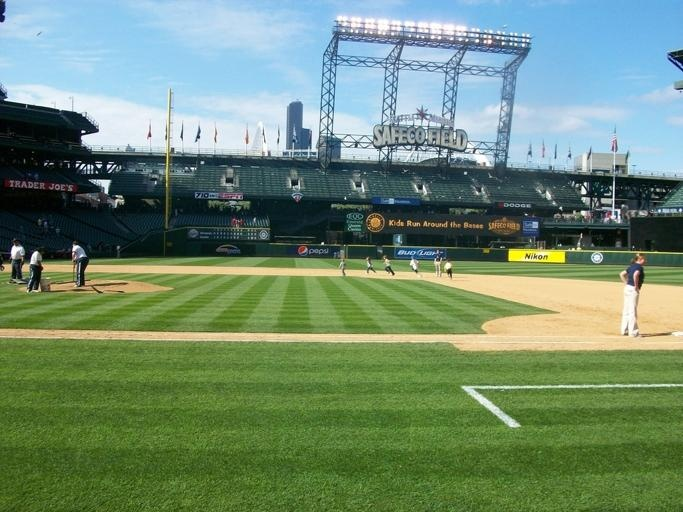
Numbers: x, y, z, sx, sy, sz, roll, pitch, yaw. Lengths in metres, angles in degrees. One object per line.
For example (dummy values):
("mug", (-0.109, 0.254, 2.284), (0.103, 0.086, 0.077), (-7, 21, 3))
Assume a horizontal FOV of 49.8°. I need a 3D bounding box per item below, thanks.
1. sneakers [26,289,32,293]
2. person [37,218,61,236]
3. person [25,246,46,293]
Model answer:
("sneakers", (-8.946, 0.985, 21.088), (0.139, 0.070, 0.165), (-5, 6, -33))
("person", (-19.747, -2.017, 49.563), (0.443, 1.183, 1.616), (-19, -9, 38))
("person", (-8.893, 0.366, 21.309), (0.408, 1.266, 1.113), (1, 2, -23))
